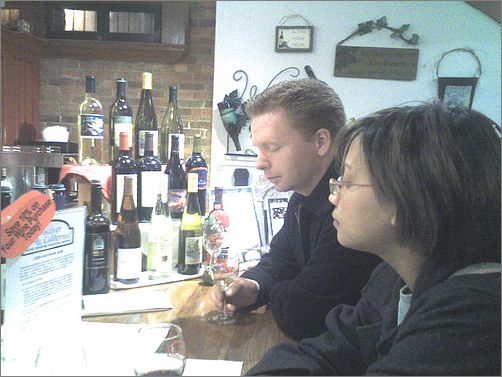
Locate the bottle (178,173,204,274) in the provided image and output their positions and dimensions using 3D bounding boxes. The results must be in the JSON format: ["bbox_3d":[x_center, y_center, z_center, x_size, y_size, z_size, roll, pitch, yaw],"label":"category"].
[{"bbox_3d":[-0.210,0.153,1.730,0.085,0.278,0.077,0,5,-7],"label":"bottle"}]

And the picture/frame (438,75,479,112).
[{"bbox_3d":[0.390,-0.174,0.960,0.093,0.081,0.017,-17,17,-7],"label":"picture/frame"}]

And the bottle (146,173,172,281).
[{"bbox_3d":[-0.281,0.124,1.666,0.086,0.339,0.124,4,6,34],"label":"bottle"}]

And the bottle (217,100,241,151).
[{"bbox_3d":[-0.132,-0.392,3.011,0.116,0.324,0.137,-22,10,6],"label":"bottle"}]

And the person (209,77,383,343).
[{"bbox_3d":[0.126,0.056,1.860,0.739,0.963,0.661,2,-1,-9],"label":"person"}]

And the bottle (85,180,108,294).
[{"bbox_3d":[-0.447,0.141,1.437,0.077,0.337,0.152,-1,5,-13],"label":"bottle"}]

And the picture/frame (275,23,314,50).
[{"bbox_3d":[0.087,-0.291,0.984,0.101,0.065,0.013,-1,-37,0],"label":"picture/frame"}]

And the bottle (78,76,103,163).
[{"bbox_3d":[-0.628,-0.263,1.961,0.087,0.338,0.318,-1,5,-19],"label":"bottle"}]

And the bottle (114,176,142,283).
[{"bbox_3d":[-0.384,0.159,1.554,0.077,0.279,0.058,-1,5,-14],"label":"bottle"}]

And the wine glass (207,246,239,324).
[{"bbox_3d":[-0.077,0.264,1.391,0.082,0.189,0.125,0,5,-1],"label":"wine glass"}]
